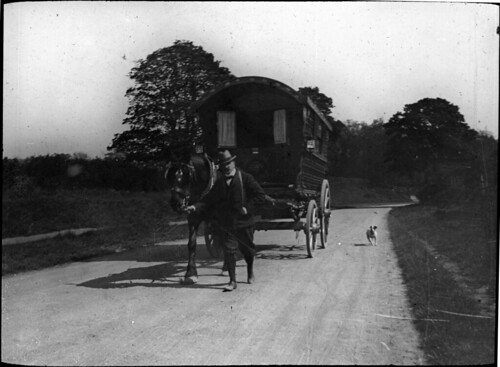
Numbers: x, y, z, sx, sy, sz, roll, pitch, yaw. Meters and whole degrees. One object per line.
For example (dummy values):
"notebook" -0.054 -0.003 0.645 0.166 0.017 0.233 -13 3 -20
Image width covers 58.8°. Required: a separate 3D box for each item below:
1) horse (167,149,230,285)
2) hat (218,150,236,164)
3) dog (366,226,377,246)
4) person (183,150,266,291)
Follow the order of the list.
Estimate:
"horse" -0.830 0.778 9.023 0.764 2.340 3.436 -3 -7 12
"hat" -0.392 -0.447 7.721 0.233 0.120 0.284 -11 5 12
"dog" 2.869 1.228 10.451 0.238 0.434 0.409 1 2 16
"person" -0.317 0.607 7.832 0.822 2.350 1.057 -1 3 -27
